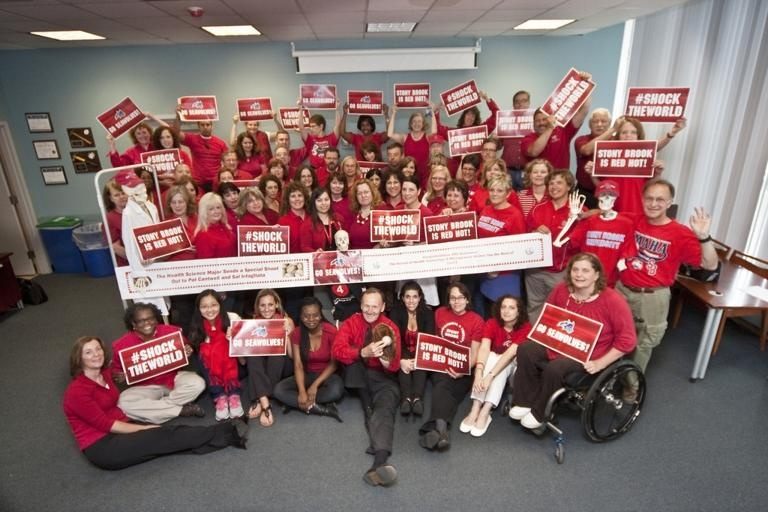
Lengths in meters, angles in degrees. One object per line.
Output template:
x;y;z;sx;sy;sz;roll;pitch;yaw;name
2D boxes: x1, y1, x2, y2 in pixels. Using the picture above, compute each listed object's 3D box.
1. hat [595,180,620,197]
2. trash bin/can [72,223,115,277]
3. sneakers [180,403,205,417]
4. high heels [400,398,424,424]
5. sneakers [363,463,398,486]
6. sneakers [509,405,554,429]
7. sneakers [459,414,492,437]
2.882;-0.889;6.779;0.250;0.157;0.335;4;21;19;hat
-5.265;-0.130;9.479;0.692;0.932;0.805;5;10;40;trash bin/can
-2.471;1.952;6.749;0.346;0.135;0.166;-5;-19;-3;sneakers
0.355;1.872;6.595;0.202;0.317;0.108;-1;11;7;high heels
-0.031;2.465;6.087;0.362;0.223;0.180;-6;8;23;sneakers
1.739;1.931;6.404;0.390;0.143;0.216;29;6;-37;sneakers
1.125;2.068;6.492;0.345;0.172;0.160;0;20;6;sneakers
